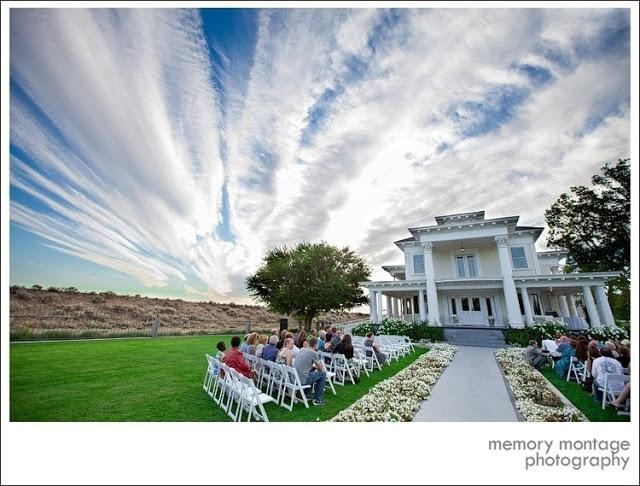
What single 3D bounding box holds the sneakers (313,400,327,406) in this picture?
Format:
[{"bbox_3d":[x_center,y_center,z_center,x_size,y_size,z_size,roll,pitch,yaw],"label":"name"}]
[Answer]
[{"bbox_3d":[0.026,5.063,10.145,0.418,0.162,0.139,-1,-12,-1],"label":"sneakers"}]
